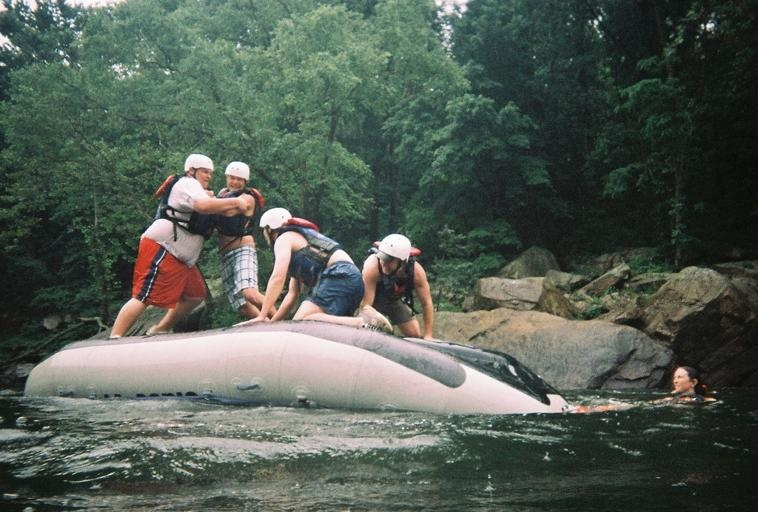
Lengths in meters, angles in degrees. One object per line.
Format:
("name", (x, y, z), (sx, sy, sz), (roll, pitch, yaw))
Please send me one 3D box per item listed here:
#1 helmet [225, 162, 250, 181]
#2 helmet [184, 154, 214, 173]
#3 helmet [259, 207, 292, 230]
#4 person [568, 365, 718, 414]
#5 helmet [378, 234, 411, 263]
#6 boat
("helmet", (-3.029, -1.855, 15.226), (0.515, 0.387, 0.673), (11, 12, -7))
("helmet", (-3.877, -2.039, 14.899), (0.463, 0.357, 0.594), (2, 0, -32))
("helmet", (-2.146, -0.783, 14.570), (0.567, 0.361, 0.413), (-3, 1, 8))
("person", (5.532, 2.689, 13.858), (3.495, 0.699, 0.812), (-4, 4, -24))
("helmet", (0.333, -0.202, 14.565), (0.612, 0.511, 0.468), (3, 20, -19))
("boat", (-1.478, 2.233, 13.657), (11.025, 1.735, 3.285), (0, -7, 9))
